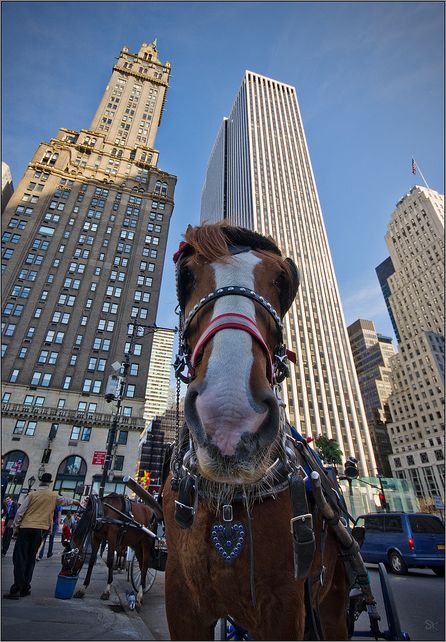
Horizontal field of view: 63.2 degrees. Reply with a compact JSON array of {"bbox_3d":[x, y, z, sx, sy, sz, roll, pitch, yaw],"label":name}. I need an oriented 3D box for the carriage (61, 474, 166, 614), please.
[{"bbox_3d":[-2.184,4.592,7.388,0.751,1.905,2.301,-26,-42,33],"label":"carriage"}]

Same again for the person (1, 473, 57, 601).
[{"bbox_3d":[-3.107,3.425,5.698,0.479,1.447,0.748,2,-25,-2],"label":"person"}]

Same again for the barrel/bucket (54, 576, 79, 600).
[{"bbox_3d":[-2.561,4.290,5.887,0.295,0.351,0.254,15,-29,-28],"label":"barrel/bucket"}]

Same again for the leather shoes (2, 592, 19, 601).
[{"bbox_3d":[-3.045,3.911,5.211,0.212,0.078,0.317,12,-28,-24],"label":"leather shoes"}]

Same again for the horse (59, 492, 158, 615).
[{"bbox_3d":[-2.163,4.582,7.341,0.665,1.851,2.287,-29,-44,34],"label":"horse"}]
